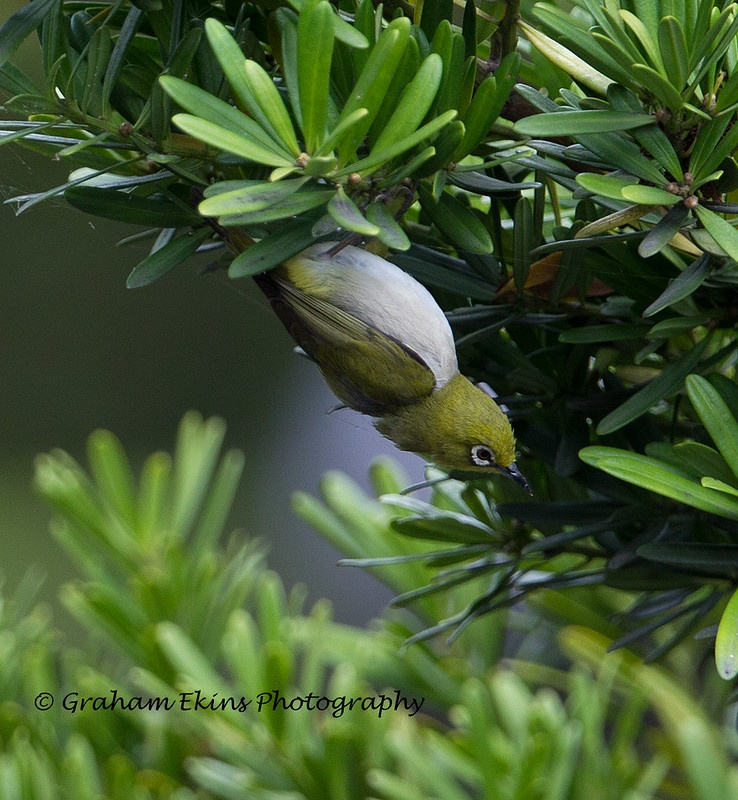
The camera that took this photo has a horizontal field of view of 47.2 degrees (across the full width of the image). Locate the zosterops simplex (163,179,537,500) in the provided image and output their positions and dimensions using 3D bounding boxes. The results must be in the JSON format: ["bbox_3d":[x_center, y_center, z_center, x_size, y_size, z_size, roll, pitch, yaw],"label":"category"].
[{"bbox_3d":[0.018,-0.027,0.545,0.293,0.084,0.137,42,55,7],"label":"zosterops simplex"}]
